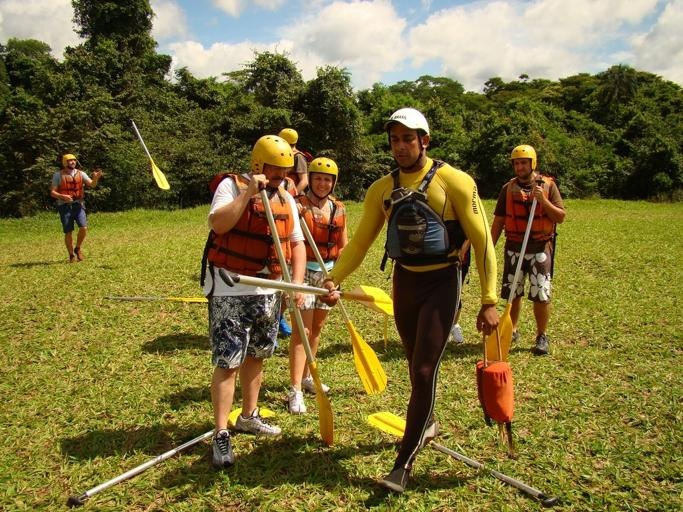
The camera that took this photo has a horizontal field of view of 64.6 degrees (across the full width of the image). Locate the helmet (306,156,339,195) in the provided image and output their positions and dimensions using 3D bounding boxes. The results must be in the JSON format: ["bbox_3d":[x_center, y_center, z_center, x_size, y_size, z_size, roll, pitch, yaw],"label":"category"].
[{"bbox_3d":[-0.237,-1.016,6.588,0.336,0.401,0.429,3,2,-5],"label":"helmet"}]

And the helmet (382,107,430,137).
[{"bbox_3d":[0.613,-1.269,5.041,0.343,0.268,0.429,8,11,36],"label":"helmet"}]

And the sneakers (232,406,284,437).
[{"bbox_3d":[-0.882,1.740,5.751,0.567,0.272,0.209,8,0,0],"label":"sneakers"}]

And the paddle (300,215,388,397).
[{"bbox_3d":[0.009,0.689,6.633,0.370,2.773,0.226,-29,33,-3],"label":"paddle"}]

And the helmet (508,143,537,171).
[{"bbox_3d":[2.498,-1.378,7.439,0.307,0.306,0.387,6,24,14],"label":"helmet"}]

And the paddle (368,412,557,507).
[{"bbox_3d":[1.148,1.971,5.160,0.430,0.166,2.071,-13,20,-33],"label":"paddle"}]

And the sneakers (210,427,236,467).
[{"bbox_3d":[-1.157,1.846,5.231,0.154,0.179,0.405,-4,38,-22],"label":"sneakers"}]

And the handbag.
[{"bbox_3d":[1.504,1.222,5.251,0.339,1.222,0.864,4,9,18],"label":"handbag"}]

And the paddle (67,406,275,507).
[{"bbox_3d":[-1.719,1.983,5.346,1.689,0.128,0.645,-17,21,-38],"label":"paddle"}]

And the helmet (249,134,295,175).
[{"bbox_3d":[-0.648,-1.018,5.270,0.420,0.334,0.309,32,34,31],"label":"helmet"}]
